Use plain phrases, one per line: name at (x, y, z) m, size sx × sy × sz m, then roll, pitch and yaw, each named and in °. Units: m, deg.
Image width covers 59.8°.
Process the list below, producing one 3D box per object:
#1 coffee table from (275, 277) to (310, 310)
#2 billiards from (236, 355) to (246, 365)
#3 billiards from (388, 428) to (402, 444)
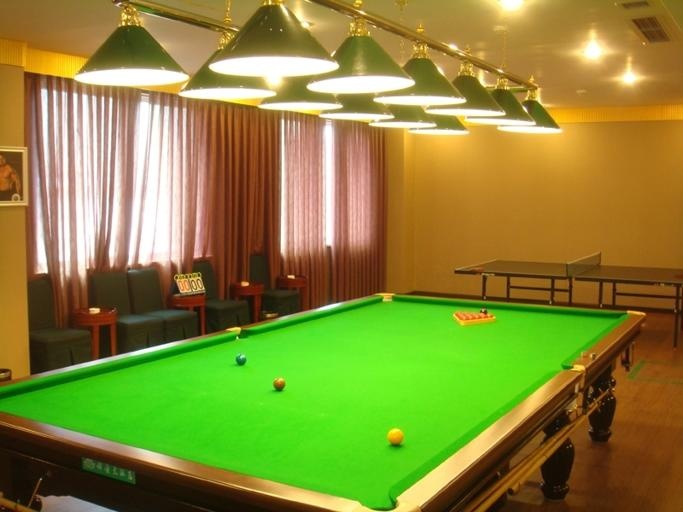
coffee table at (-0.544, 0.519, 7.694) m, size 0.355 × 0.407 × 0.365 m, roll -11°, pitch -3°, yaw 44°
billiards at (-0.515, 0.528, 3.064) m, size 0.044 × 0.038 × 0.043 m, roll -8°, pitch 14°, yaw -27°
billiards at (0.200, 0.661, 2.198) m, size 0.061 × 0.054 × 0.068 m, roll 1°, pitch 7°, yaw 1°
